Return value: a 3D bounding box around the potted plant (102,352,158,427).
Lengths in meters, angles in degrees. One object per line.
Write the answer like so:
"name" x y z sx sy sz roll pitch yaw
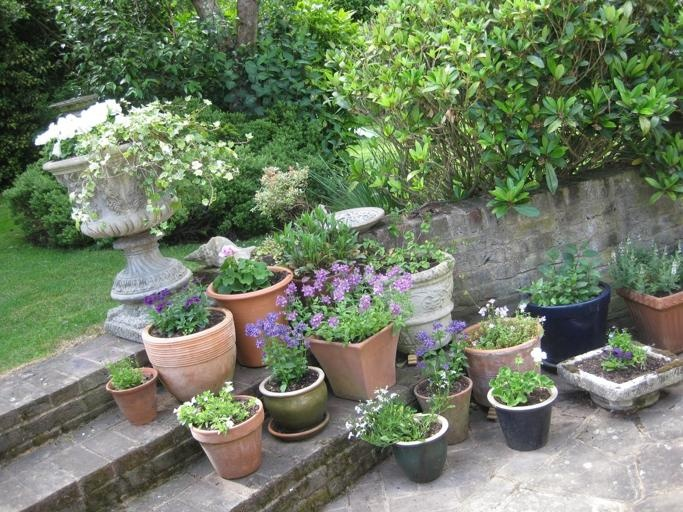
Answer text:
"potted plant" -1.488 0.969 3.865 0.337 0.403 0.350 -16 0 30

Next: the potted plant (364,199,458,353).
"potted plant" 0.561 0.373 4.682 0.769 1.067 0.832 -1 1 10

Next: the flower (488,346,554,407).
"flower" 1.276 0.893 3.861 0.468 0.357 0.430 6 -1 0

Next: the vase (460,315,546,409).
"vase" 1.236 0.919 4.417 0.658 0.504 0.674 -2 10 4

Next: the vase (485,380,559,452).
"vase" 1.266 1.179 3.711 0.462 0.347 0.469 0 22 21

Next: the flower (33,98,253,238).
"flower" -1.610 -0.738 4.347 1.467 1.016 1.443 -17 7 -25

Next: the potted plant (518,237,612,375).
"potted plant" 2.061 0.498 4.668 0.653 0.867 0.579 -6 5 28

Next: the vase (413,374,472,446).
"vase" 0.783 1.177 4.089 0.448 0.366 0.453 -5 11 22

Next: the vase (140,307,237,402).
"vase" -1.105 0.807 4.071 0.662 0.515 0.662 -11 6 -14

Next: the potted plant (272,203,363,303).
"potted plant" -0.323 -0.032 4.703 0.737 0.580 0.737 -20 26 -9

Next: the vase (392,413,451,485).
"vase" 0.519 1.346 3.710 0.432 0.329 0.433 -8 16 5

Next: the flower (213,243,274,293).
"flower" -0.752 0.114 4.270 0.399 0.267 0.410 3 15 28

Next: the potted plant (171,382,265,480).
"potted plant" -0.767 1.213 3.619 0.528 0.511 0.597 -2 13 40

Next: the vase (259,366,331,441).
"vase" -0.312 1.044 3.870 0.480 0.344 0.454 -9 11 -17

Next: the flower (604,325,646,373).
"flower" 2.183 0.760 4.150 0.310 0.241 0.350 -7 8 3

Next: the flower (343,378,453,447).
"flower" 0.324 1.202 3.730 0.439 0.226 0.462 -15 -23 -30

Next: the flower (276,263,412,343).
"flower" 0.078 0.379 4.017 0.803 0.345 0.658 3 37 15

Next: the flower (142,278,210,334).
"flower" -1.192 0.415 3.942 0.381 0.206 0.401 -9 27 -6

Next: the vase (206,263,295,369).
"vase" -0.651 0.466 4.473 0.724 0.639 0.738 3 19 23

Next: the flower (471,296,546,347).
"flower" 1.291 0.595 4.375 0.393 0.185 0.516 -13 16 -4

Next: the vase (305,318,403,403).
"vase" 0.152 0.702 4.159 0.689 0.520 0.599 -5 4 32
